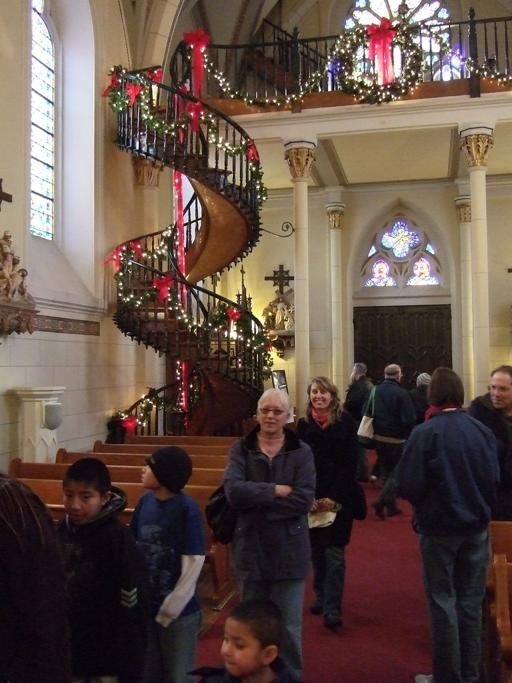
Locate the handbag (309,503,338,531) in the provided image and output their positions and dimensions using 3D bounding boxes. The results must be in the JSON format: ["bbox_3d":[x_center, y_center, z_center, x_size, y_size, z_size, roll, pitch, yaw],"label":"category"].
[{"bbox_3d":[0.393,1.008,4.004,0.161,0.060,0.156,-16,-8,7],"label":"handbag"}]
